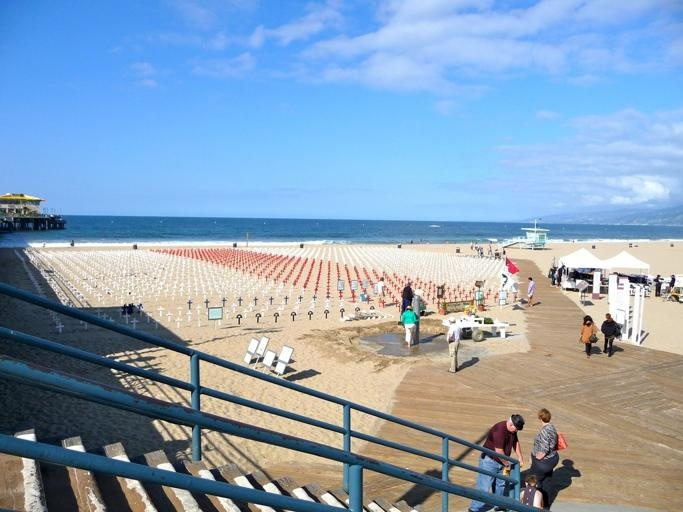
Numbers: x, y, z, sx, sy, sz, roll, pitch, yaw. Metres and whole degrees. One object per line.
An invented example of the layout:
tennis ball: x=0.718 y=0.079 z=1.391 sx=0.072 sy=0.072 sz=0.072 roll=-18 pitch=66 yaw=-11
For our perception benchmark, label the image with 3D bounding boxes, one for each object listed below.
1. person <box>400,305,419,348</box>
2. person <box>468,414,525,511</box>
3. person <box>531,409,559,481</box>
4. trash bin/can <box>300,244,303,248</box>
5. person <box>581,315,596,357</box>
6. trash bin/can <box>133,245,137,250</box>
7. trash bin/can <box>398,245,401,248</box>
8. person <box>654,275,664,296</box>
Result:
person: x=1.982 y=1.997 z=16.640 sx=0.438 sy=1.176 sz=0.979 roll=0 pitch=5 yaw=8
person: x=2.211 y=2.975 z=8.195 sx=0.730 sy=1.416 sz=1.255 roll=1 pitch=5 yaw=17
person: x=3.023 y=2.810 z=8.507 sx=0.364 sy=1.000 sz=0.436 roll=1 pitch=5 yaw=17
trash bin/can: x=-4.404 y=-1.133 z=63.150 sx=0.380 sy=0.319 sz=0.353 roll=0 pitch=2 yaw=-13
person: x=6.707 y=2.100 z=15.538 sx=0.384 sy=1.040 sz=1.546 roll=1 pitch=5 yaw=23
trash bin/can: x=-19.946 y=-0.886 z=54.960 sx=0.313 sy=0.494 sz=0.558 roll=1 pitch=-2 yaw=-28
trash bin/can: x=6.508 y=-1.133 z=64.802 sx=0.220 sy=0.364 sz=0.429 roll=1 pitch=-1 yaw=-21
person: x=14.342 y=1.313 z=25.586 sx=0.342 sy=0.969 sz=0.642 roll=10 pitch=-5 yaw=-5
